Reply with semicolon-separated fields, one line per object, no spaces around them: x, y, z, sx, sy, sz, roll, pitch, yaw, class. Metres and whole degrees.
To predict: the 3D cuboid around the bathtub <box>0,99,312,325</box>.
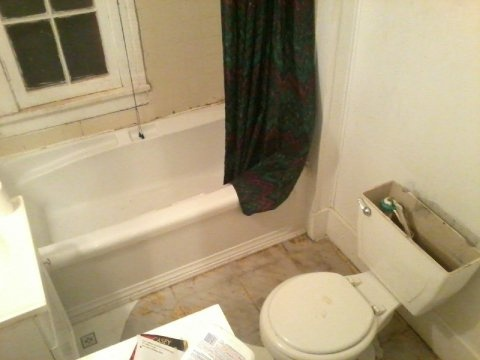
-0.563;0.127;2.260;1.603;0.599;0.953;-16;48;-19;bathtub
